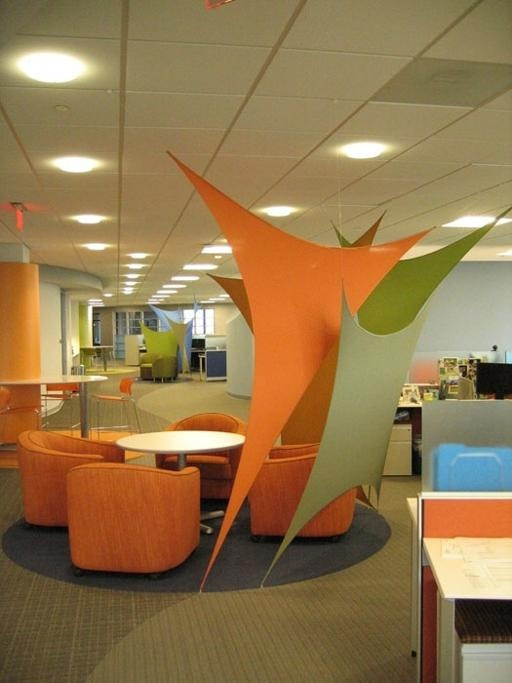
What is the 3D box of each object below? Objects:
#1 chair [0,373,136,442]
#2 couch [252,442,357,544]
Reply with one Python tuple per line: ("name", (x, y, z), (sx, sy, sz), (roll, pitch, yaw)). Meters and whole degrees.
("chair", (-2.627, 0.837, 7.053), (1.059, 0.658, 1.066), (1, 4, 17))
("couch", (0.345, 1.167, 3.849), (0.783, 0.704, 0.283), (0, -1, 3))
